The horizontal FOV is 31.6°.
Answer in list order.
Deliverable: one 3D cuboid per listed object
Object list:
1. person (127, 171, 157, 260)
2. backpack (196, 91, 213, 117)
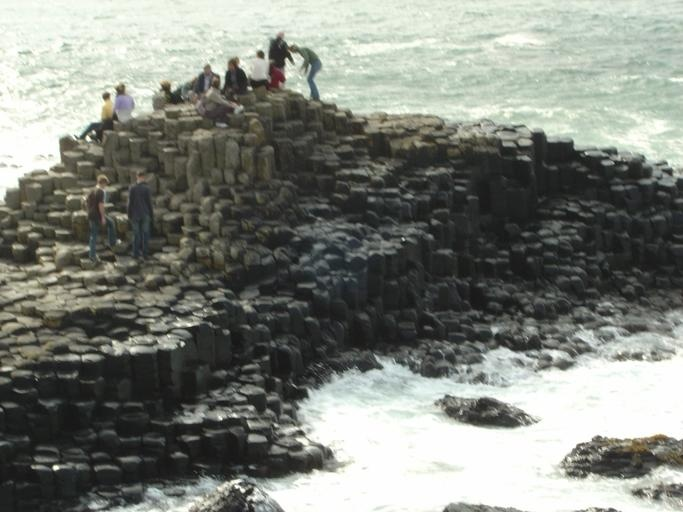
[{"bbox_3d":[-9.134,-1.870,53.940,1.052,3.814,1.160,-1,8,10],"label":"person"},{"bbox_3d":[-6.427,-7.007,56.047,0.764,1.075,0.419,6,2,-40],"label":"backpack"}]
